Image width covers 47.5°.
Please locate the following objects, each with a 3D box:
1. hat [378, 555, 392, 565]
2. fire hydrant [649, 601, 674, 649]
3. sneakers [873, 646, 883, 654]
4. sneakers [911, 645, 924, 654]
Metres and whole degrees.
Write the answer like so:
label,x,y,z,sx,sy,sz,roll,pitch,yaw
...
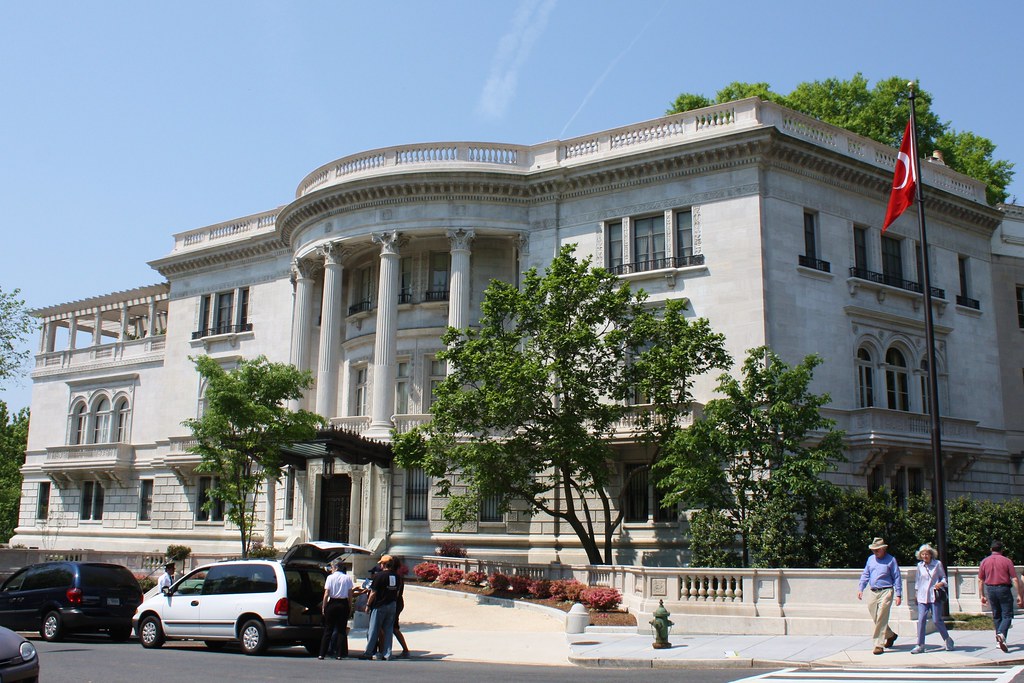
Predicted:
label,x,y,z,sx,sy,sz,roll,pitch,yaw
hat,-4.065,7.156,37.850,0.472,0.388,0.745,4,-15,-12
fire hydrant,4.916,9.406,38.513,0.625,1.562,0.807,-1,-15,6
sneakers,11.466,9.715,36.446,0.349,0.276,0.198,3,-15,-9
sneakers,12.672,9.694,36.389,0.449,0.164,0.151,13,-23,-22
